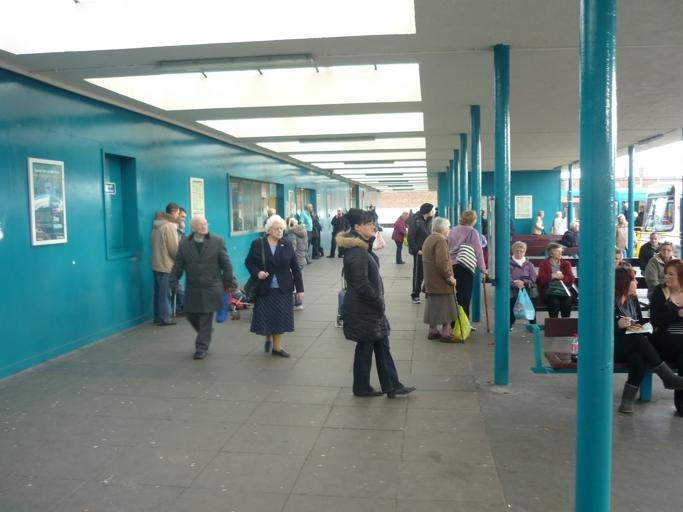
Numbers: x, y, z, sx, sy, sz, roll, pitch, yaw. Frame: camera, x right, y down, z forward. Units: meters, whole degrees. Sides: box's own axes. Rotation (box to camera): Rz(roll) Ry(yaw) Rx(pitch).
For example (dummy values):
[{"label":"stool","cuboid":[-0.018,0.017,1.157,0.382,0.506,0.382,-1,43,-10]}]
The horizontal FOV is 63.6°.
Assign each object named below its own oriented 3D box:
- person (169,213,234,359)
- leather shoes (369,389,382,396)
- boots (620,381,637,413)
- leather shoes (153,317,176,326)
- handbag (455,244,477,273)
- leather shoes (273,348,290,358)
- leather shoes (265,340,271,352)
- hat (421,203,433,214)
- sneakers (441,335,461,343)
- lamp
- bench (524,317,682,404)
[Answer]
[{"label":"person","cuboid":[-2.128,0.465,8.524,0.963,2.165,0.466,-2,6,-13]},{"label":"leather shoes","cuboid":[0.422,1.697,6.833,0.165,0.072,0.057,-1,14,2]},{"label":"boots","cuboid":[3.261,1.599,6.243,0.310,0.331,0.130,-5,8,-36]},{"label":"leather shoes","cuboid":[-3.487,1.299,10.820,0.444,0.195,0.166,-1,2,-7]},{"label":"handbag","cuboid":[2.107,0.056,9.300,0.442,0.387,0.172,-1,-9,-15]},{"label":"leather shoes","cuboid":[-0.937,1.508,8.534,0.263,0.109,0.106,1,2,8]},{"label":"leather shoes","cuboid":[-1.167,1.431,8.735,0.075,0.221,0.065,1,2,-9]},{"label":"hat","cuboid":[1.837,-1.074,12.117,0.207,0.275,0.208,14,8,42]},{"label":"sneakers","cuboid":[1.820,1.397,9.236,0.318,0.121,0.117,-2,1,1]},{"label":"lamp","cuboid":[-1.500,-2.692,7.682,2.307,0.119,0.307,1,7,10]},{"label":"bench","cuboid":[3.055,1.158,7.070,1.621,1.009,0.978,-4,-34,47]}]
